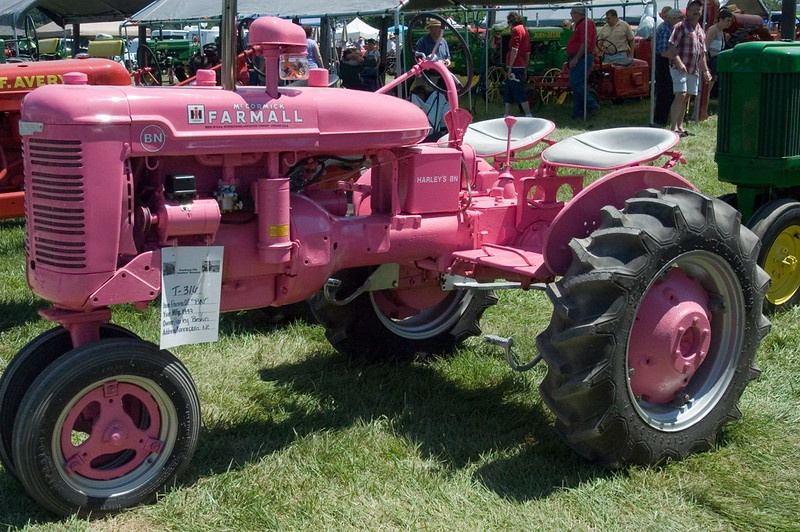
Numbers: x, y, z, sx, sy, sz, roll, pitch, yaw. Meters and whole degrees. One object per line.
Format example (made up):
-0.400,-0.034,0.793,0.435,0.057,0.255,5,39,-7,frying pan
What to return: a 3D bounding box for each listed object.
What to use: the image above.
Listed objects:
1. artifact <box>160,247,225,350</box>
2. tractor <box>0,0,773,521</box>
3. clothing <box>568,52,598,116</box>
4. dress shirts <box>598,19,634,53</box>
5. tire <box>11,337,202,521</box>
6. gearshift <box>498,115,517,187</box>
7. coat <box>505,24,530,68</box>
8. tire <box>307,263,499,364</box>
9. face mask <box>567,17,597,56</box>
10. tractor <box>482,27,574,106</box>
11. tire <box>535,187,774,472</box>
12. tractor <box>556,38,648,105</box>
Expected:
-1.104,0.163,3.981,0.398,0.545,0.182,-11,19,-29,artifact
0.169,-0.142,4.440,4.111,2.381,2.818,-2,5,-33,tractor
3.305,-3.315,13.779,0.402,1.412,0.424,-7,-20,20,clothing
4.144,-4.430,14.689,0.677,0.696,0.397,3,6,30,dress shirts
-1.536,0.844,3.961,0.882,0.976,0.289,-6,17,-37,tire
0.737,-0.772,5.186,0.117,0.501,0.136,3,3,-17,gearshift
2.106,-4.035,13.910,0.357,0.909,0.760,14,24,18,coat
0.152,0.283,6.121,1.572,0.456,1.646,-2,-2,-5,tire
3.379,-4.247,14.070,0.476,0.749,0.720,0,9,5,face mask
3.255,-4.562,16.819,1.503,1.640,2.338,-17,18,-29,tractor
1.507,0.395,4.412,1.631,1.718,0.505,-12,16,-33,tire
3.932,-3.729,14.814,1.834,1.223,1.144,-8,16,-12,tractor
